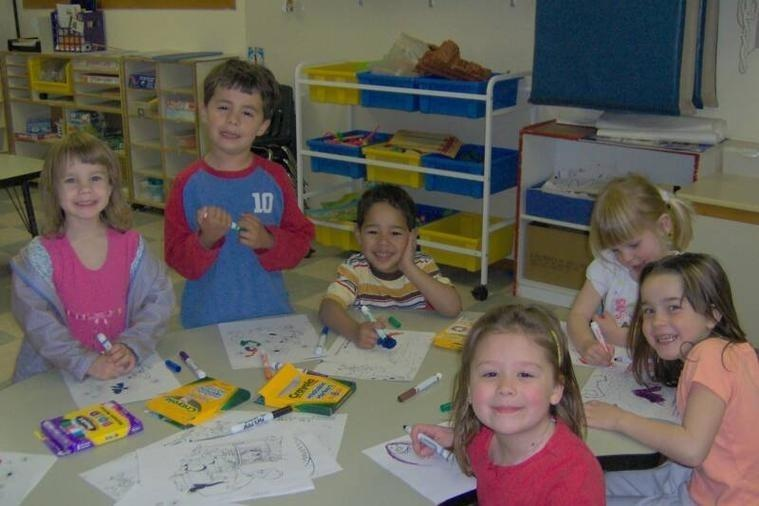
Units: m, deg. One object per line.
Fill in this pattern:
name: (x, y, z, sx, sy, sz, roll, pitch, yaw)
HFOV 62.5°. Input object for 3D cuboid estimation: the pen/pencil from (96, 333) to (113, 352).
pen/pencil: (-0.861, 0.282, 1.944, 0.029, 0.092, 0.021, 6, 56, 4)

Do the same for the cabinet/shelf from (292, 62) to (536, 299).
cabinet/shelf: (0.269, -0.451, 3.812, 1.448, 1.269, 0.609, 16, 27, 33)

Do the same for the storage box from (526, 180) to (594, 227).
storage box: (1.076, -0.275, 3.755, 0.289, 0.090, 0.283, 10, 17, 21)

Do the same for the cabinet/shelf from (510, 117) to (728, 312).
cabinet/shelf: (1.137, -0.204, 2.988, 1.052, 0.951, 0.409, 14, 20, 31)

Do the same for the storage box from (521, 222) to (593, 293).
storage box: (1.082, 0.024, 3.784, 0.377, 0.250, 0.205, 15, 36, 27)

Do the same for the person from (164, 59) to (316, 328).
person: (-0.522, -0.201, 2.249, 0.419, 0.927, 0.506, 7, 21, 25)
